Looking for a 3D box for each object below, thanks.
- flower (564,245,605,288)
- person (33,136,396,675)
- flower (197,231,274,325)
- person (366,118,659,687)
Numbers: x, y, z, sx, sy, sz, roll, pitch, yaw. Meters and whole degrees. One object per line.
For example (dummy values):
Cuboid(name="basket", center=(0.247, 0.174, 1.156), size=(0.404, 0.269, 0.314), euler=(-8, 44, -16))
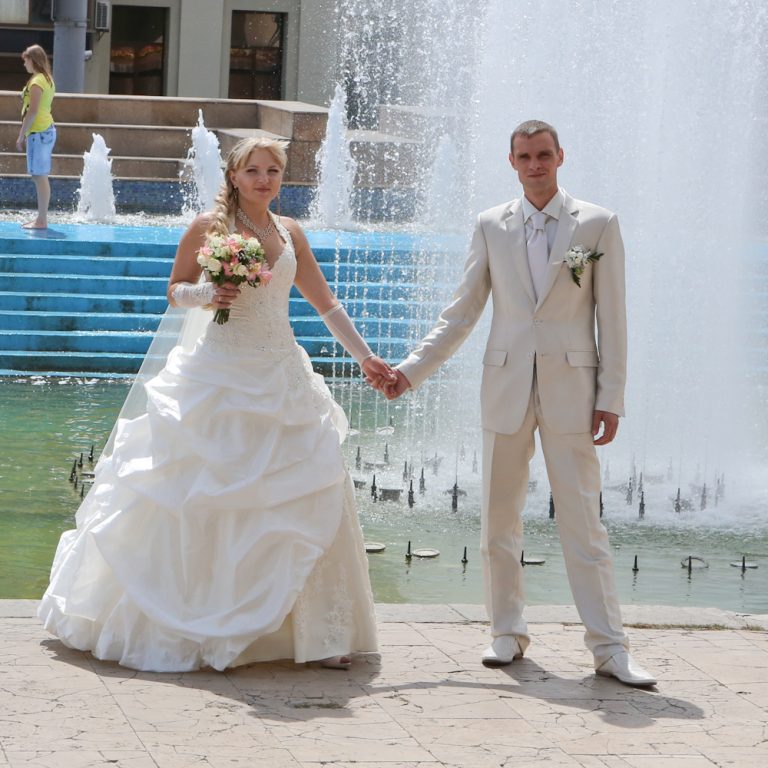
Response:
Cuboid(name="flower", center=(0.660, -0.384, 4.110), size=(0.126, 0.132, 0.123), euler=(4, 5, 7))
Cuboid(name="person", center=(-0.544, 0.026, 4.268), size=(1.139, 1.755, 0.701), euler=(3, 5, 1))
Cuboid(name="flower", center=(-0.501, -0.372, 4.273), size=(0.286, 0.269, 0.274), euler=(-5, 18, -17))
Cuboid(name="person", center=(0.520, 0.037, 4.193), size=(0.909, 1.807, 0.435), euler=(4, 5, 12))
